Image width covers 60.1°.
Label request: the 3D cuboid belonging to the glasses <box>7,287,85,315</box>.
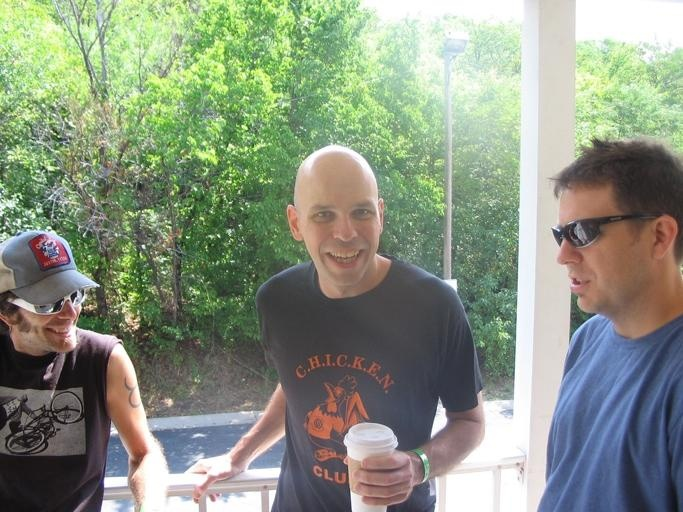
[{"bbox_3d":[-1.553,0.246,3.120,0.370,0.128,0.158,-3,3,-33],"label":"glasses"}]

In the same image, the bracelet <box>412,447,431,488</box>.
[{"bbox_3d":[0.374,0.970,2.677,0.044,0.124,0.126,-15,-28,3],"label":"bracelet"}]
